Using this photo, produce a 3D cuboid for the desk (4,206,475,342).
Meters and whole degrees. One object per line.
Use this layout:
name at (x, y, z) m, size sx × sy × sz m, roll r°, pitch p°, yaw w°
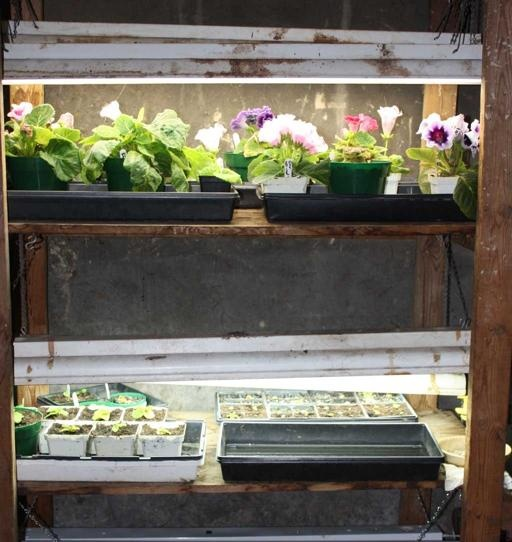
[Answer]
desk at (-0.013, 0.029, 1.750) m, size 1.329 × 0.378 × 0.659 m, roll -2°, pitch 3°, yaw -6°
